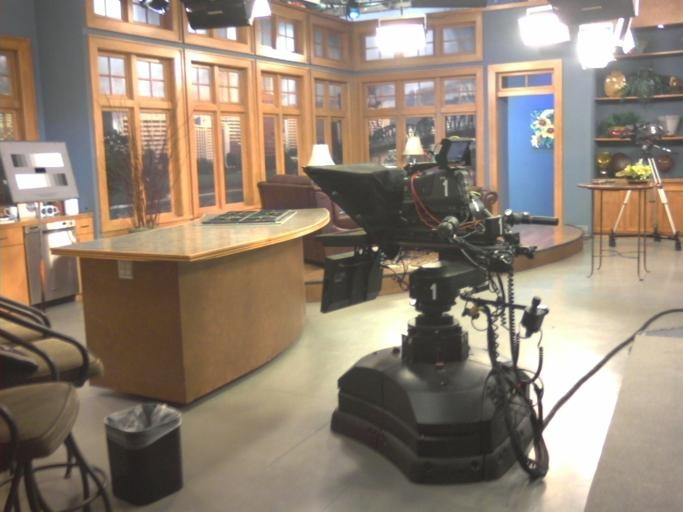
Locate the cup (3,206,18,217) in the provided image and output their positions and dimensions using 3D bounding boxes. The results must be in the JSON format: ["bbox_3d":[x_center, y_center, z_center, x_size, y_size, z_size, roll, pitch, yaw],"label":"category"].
[{"bbox_3d":[-3.520,-0.462,5.537,0.121,0.119,0.112,2,-1,0],"label":"cup"}]

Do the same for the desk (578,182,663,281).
[{"bbox_3d":[4.160,-0.462,7.583,1.232,1.218,1.167,-14,13,-17],"label":"desk"}]

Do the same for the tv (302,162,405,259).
[{"bbox_3d":[0.075,-0.268,3.018,0.454,0.554,0.494,-28,10,-3],"label":"tv"}]

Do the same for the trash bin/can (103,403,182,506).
[{"bbox_3d":[-0.962,0.975,2.517,0.343,0.451,0.354,8,12,36],"label":"trash bin/can"}]
